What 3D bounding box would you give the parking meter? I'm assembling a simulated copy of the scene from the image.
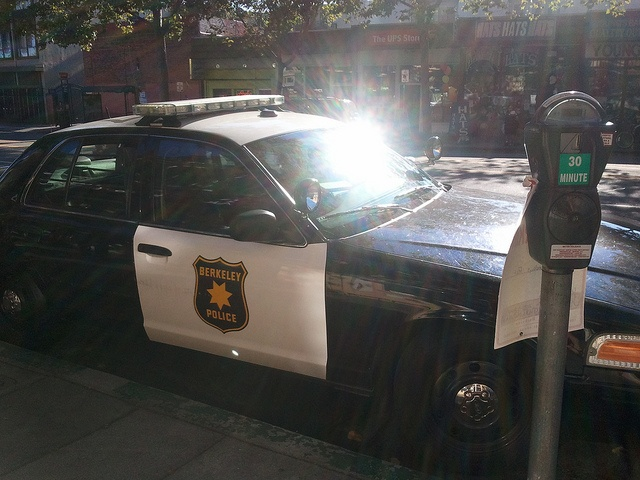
[{"bbox_3d":[0.905,0.226,1.920,0.315,1.563,0.242,3,7,14],"label":"parking meter"}]
